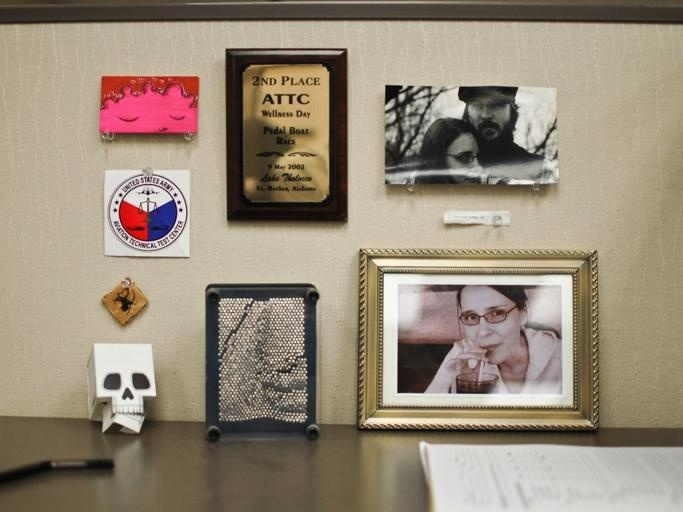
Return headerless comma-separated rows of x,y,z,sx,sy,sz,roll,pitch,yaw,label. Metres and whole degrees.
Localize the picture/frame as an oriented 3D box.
0.371,0.234,2.597,0.471,0.355,0.027,0,-2,2,picture/frame
